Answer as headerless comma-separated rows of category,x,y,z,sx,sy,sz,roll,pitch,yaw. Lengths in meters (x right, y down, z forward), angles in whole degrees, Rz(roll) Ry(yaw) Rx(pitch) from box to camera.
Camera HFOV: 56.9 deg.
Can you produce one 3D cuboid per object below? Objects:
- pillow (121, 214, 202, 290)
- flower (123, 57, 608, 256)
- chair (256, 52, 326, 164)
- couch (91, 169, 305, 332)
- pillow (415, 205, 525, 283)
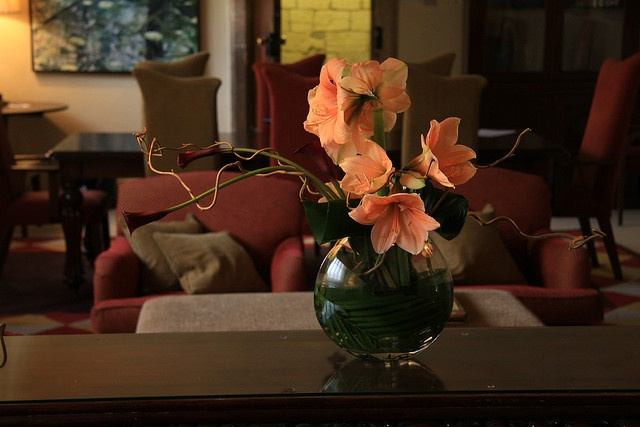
pillow,-0.626,0.163,2.289,0.266,0.311,0.090,-3,-14,-33
flower,0.077,-0.131,1.213,0.875,0.443,0.366,-2,17,7
chair,-0.225,-0.621,3.433,0.478,0.817,0.530,0,11,-8
couch,-0.450,0.061,2.367,0.771,0.765,0.600,-2,-1,-8
pillow,0.638,0.208,2.504,0.342,0.359,0.179,-16,-16,-17
